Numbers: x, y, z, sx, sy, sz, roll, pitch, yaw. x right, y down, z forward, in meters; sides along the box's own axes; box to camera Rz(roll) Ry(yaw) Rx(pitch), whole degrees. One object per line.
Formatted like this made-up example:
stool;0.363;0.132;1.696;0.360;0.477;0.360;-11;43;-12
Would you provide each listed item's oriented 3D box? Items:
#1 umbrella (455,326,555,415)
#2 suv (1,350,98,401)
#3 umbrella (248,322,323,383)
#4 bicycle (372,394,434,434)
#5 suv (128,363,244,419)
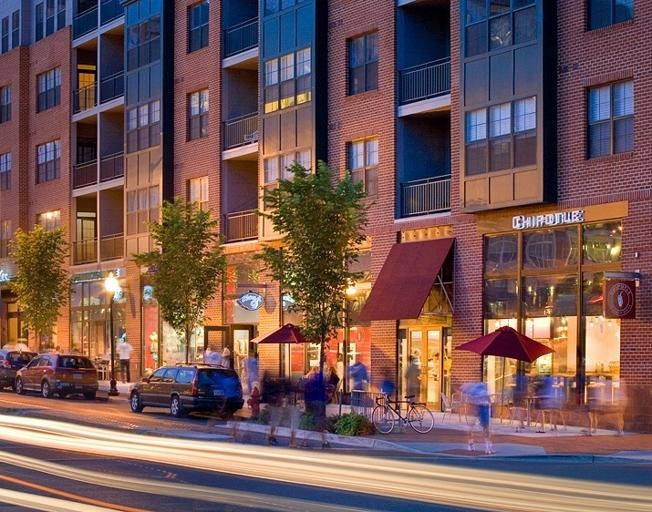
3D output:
umbrella;5.115;2.479;29.537;2.250;1.068;0.895;-2;-12;9
suv;-10.317;4.661;40.871;3.595;1.751;1.263;-2;-5;29
umbrella;-1.349;3.017;37.586;1.885;1.451;1.901;-17;25;-24
bicycle;2.187;4.617;29.919;1.704;0.957;1.353;-1;-13;2
suv;-4.857;4.556;35.657;2.263;1.719;4.677;6;-7;-35
